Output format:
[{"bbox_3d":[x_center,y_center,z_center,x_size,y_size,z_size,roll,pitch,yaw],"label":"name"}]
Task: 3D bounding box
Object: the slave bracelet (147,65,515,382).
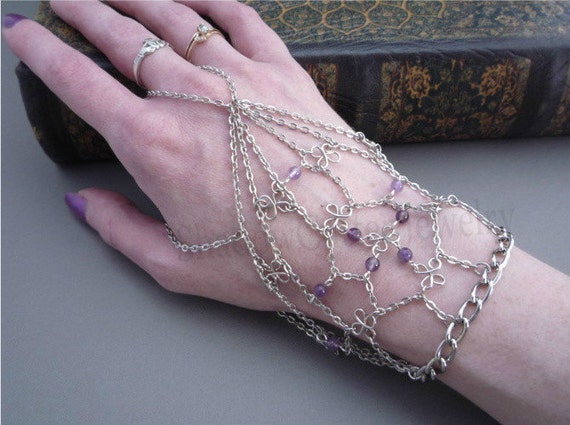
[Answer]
[{"bbox_3d":[0.136,0.008,1.611,0.966,0.525,0.492,19,45,22],"label":"slave bracelet"}]
